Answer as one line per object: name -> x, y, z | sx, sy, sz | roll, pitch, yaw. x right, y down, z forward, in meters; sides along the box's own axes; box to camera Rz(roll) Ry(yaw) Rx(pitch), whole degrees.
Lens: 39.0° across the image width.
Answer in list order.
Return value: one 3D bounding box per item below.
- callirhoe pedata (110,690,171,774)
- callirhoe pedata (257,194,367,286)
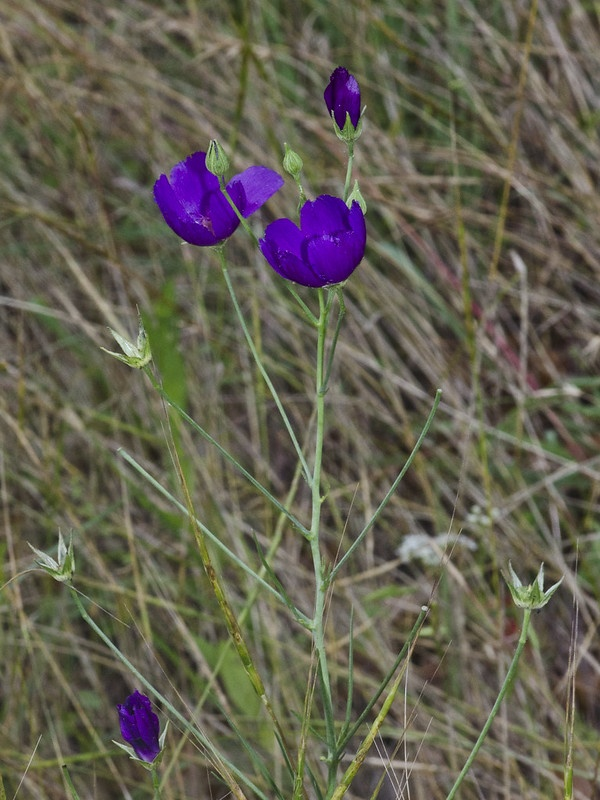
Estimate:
callirhoe pedata -> -0.245, 0.536, 1.331 | 0.066, 0.084, 0.126 | -7, 89, 32
callirhoe pedata -> 0.027, -0.244, 1.279 | 0.147, 0.103, 0.152 | -19, 63, -17
